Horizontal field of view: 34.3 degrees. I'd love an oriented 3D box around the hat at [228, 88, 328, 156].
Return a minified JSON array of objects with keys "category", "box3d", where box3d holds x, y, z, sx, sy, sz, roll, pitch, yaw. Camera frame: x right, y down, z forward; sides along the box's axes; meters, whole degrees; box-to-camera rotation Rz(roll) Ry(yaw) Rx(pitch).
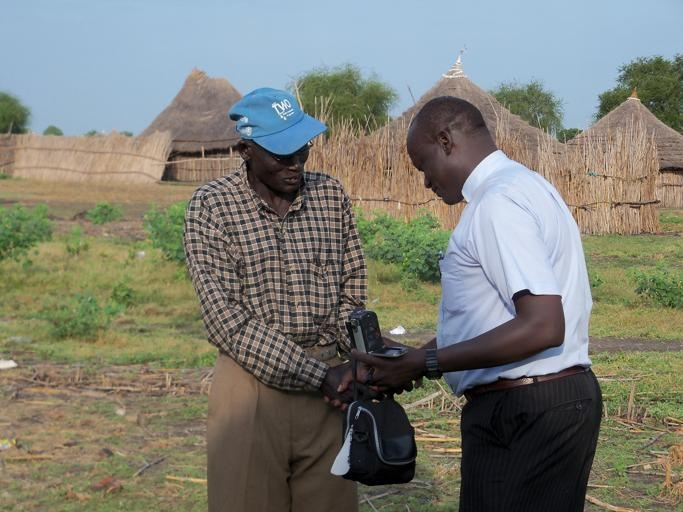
[{"category":"hat","box3d":[-0.640,-1.310,10.770,0.921,0.672,0.296,2,-6,-6]}]
